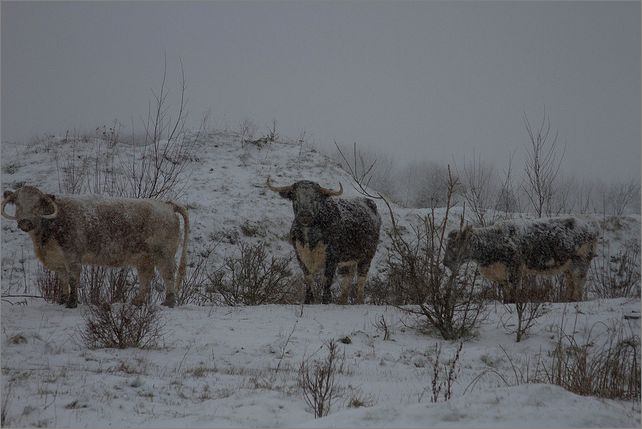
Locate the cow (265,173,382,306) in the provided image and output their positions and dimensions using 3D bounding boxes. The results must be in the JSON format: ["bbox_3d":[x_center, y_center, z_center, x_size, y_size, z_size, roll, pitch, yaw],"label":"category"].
[{"bbox_3d":[0.297,0.813,19.163,1.289,2.305,3.072,5,2,41],"label":"cow"}]
